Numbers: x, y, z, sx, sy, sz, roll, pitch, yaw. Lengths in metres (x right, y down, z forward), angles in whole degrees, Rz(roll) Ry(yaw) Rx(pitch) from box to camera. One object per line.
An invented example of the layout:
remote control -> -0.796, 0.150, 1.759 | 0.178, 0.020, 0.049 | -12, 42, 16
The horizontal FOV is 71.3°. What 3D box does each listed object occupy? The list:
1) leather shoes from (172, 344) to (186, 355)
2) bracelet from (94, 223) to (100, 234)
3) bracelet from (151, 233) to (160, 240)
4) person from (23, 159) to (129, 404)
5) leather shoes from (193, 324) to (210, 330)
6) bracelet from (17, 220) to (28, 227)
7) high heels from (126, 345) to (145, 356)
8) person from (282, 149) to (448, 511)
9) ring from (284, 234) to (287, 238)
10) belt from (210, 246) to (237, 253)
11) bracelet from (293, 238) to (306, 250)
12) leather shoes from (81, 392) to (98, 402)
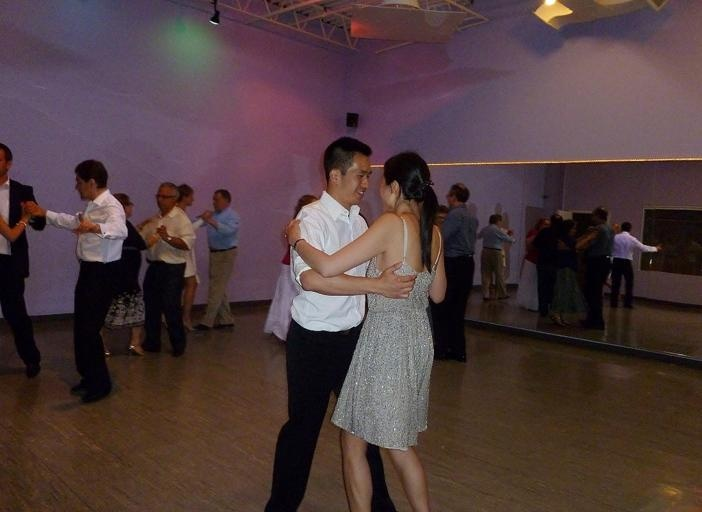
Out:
leather shoes -> -1.924, 1.057, 5.478 | 0.124, 0.113, 0.132 | 1, 5, -21
bracelet -> -2.074, -0.214, 4.003 | 0.056, 0.058, 0.044 | -2, 6, -34
bracelet -> -2.061, -0.195, 5.161 | 0.062, 0.023, 0.064 | 0, 26, -39
person -> -2.268, 0.206, 4.292 | 0.499, 2.065, 0.697 | -1, 5, -36
leather shoes -> -2.014, 0.965, 6.626 | 0.227, 0.102, 0.087 | -2, 3, -6
bracelet -> -2.969, -0.290, 4.425 | 0.065, 0.032, 0.056 | -28, -2, -5
high heels -> -2.385, 1.060, 5.434 | 0.085, 0.069, 0.164 | 6, 7, 11
person -> 0.159, 0.451, 2.617 | 0.796, 2.029, 0.361 | 2, 4, -9
ring -> -0.358, -0.107, 2.660 | 0.007, 0.027, 0.026 | -8, 5, -35
belt -> -1.753, -0.077, 6.683 | 0.327, 0.088, 0.116 | 1, 4, -16
bracelet -> -0.267, -0.057, 2.491 | 0.069, 0.062, 0.041 | 3, 4, 13
leather shoes -> -2.227, 1.213, 4.185 | 0.135, 0.084, 0.048 | 1, 5, -22
